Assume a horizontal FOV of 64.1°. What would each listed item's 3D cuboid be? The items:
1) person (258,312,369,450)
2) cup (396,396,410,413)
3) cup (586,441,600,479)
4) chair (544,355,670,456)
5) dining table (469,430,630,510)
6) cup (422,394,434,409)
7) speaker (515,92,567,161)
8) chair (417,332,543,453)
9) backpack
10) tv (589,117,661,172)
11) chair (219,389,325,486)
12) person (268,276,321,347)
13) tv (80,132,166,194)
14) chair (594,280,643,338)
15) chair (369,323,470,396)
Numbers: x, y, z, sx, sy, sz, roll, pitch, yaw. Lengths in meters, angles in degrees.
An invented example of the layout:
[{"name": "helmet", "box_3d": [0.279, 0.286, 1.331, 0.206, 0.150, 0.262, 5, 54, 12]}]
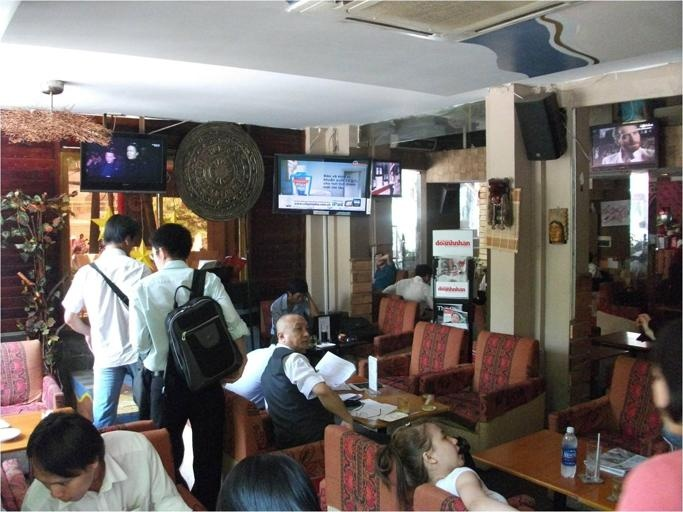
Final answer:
[{"name": "person", "box_3d": [-0.216, 0.953, 4.157, 0.472, 1.449, 0.571, -22, 25, -38]}, {"name": "cup", "box_3d": [0.449, 1.117, 4.067, 0.093, 0.108, 0.100, -1, -6, 0]}, {"name": "cup", "box_3d": [1.521, 1.224, 3.318, 0.085, 0.237, 0.193, 1, 7, 25]}, {"name": "chair", "box_3d": [1.995, 1.096, 4.225, 0.719, 0.902, 0.655, 1, 1, -40]}, {"name": "dining table", "box_3d": [1.376, 1.329, 3.511, 0.706, 0.432, 0.674, -11, 15, -41]}, {"name": "cup", "box_3d": [0.661, 1.121, 4.181, 0.084, 0.080, 0.085, 1, -2, 0]}, {"name": "speaker", "box_3d": [1.908, -1.216, 5.228, 0.479, 0.590, 0.378, -8, 9, -44]}, {"name": "chair", "box_3d": [1.347, 1.160, 5.060, 1.033, 1.207, 0.875, 2, -2, -41]}, {"name": "backpack", "box_3d": [-0.893, 0.466, 3.448, 0.503, 0.679, 0.265, -24, 16, -38]}, {"name": "tv", "box_3d": [3.716, -1.442, 7.157, 1.045, 0.765, 0.169, 0, 1, 21]}, {"name": "chair", "box_3d": [-0.454, 1.160, 3.684, 0.545, 0.750, 0.670, -3, 3, -40]}, {"name": "person", "box_3d": [-0.596, 0.810, 6.388, 0.572, 1.048, 0.489, 7, 9, 30]}, {"name": "tv", "box_3d": [-2.291, -0.973, 5.681, 0.680, 0.478, 0.091, -1, 2, -32]}, {"name": "chair", "box_3d": [4.560, 0.925, 8.872, 0.741, 0.934, 0.985, -3, 14, 31]}, {"name": "chair", "box_3d": [0.852, 1.019, 5.542, 0.697, 0.940, 0.681, 5, -4, -37]}]
